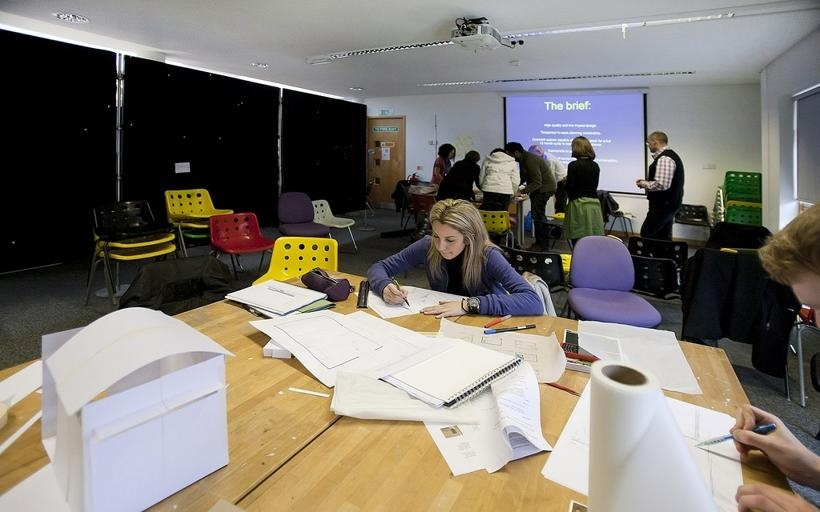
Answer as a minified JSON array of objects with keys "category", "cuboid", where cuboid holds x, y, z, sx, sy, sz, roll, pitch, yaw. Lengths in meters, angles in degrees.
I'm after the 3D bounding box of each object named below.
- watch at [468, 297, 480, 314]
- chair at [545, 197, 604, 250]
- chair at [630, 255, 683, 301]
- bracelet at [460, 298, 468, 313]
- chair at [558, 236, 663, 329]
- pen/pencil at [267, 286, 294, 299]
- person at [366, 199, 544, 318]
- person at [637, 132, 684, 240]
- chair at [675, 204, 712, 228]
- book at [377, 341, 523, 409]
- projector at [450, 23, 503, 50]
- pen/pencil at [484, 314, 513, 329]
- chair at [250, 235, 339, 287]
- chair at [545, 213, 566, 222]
[{"category":"watch","cuboid":[0.356,0.280,2.708,0.091,0.084,0.060,5,29,-9]},{"category":"chair","cuboid":[2.143,-0.388,6.154,0.815,0.796,0.623,1,16,5]},{"category":"chair","cuboid":[2.108,0.116,4.146,0.389,0.485,0.413,9,24,40]},{"category":"bracelet","cuboid":[0.313,0.281,2.745,0.046,0.062,0.025,-3,-9,32]},{"category":"chair","cuboid":[1.524,0.164,3.730,0.605,0.962,0.816,0,8,5]},{"category":"pen/pencil","cuboid":[-0.770,0.218,2.796,0.144,0.024,0.026,14,20,26]},{"category":"person","cuboid":[0.284,0.060,3.012,0.897,0.476,0.802,10,15,37]},{"category":"person","cuboid":[3.250,-0.862,6.142,0.515,1.379,0.628,7,15,28]},{"category":"chair","cuboid":[4.886,-0.678,8.130,0.341,0.355,0.444,8,-2,24]},{"category":"book","cuboid":[0.196,0.536,2.178,0.338,0.048,0.324,-19,23,-40]},{"category":"projector","cuboid":[0.840,-2.676,5.901,0.471,0.211,0.581,10,17,37]},{"category":"pen/pencil","cuboid":[0.492,0.361,2.634,0.023,0.023,0.213,26,24,32]},{"category":"chair","cuboid":[-0.944,-0.004,3.916,0.463,0.612,0.441,3,9,-3]},{"category":"chair","cuboid":[2.299,-0.584,7.464,0.238,0.138,0.378,-2,2,-27]}]
